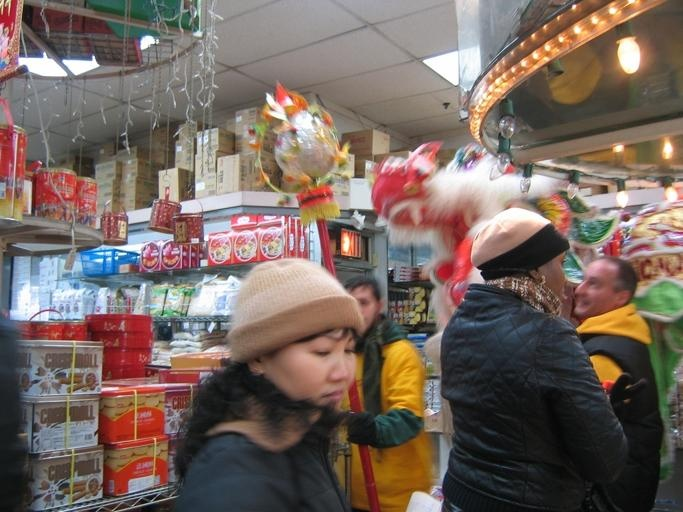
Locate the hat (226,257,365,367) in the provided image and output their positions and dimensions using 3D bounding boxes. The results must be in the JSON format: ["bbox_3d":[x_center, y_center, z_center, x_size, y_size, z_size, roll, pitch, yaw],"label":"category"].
[{"bbox_3d":[-0.098,0.114,1.231,0.238,0.181,0.239,-1,-2,28],"label":"hat"}]

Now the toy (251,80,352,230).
[{"bbox_3d":[-0.167,-0.406,2.205,0.400,0.578,0.131,-3,-6,-2],"label":"toy"}]

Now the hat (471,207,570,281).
[{"bbox_3d":[0.574,-0.030,1.862,0.276,0.217,0.222,-13,16,47],"label":"hat"}]
